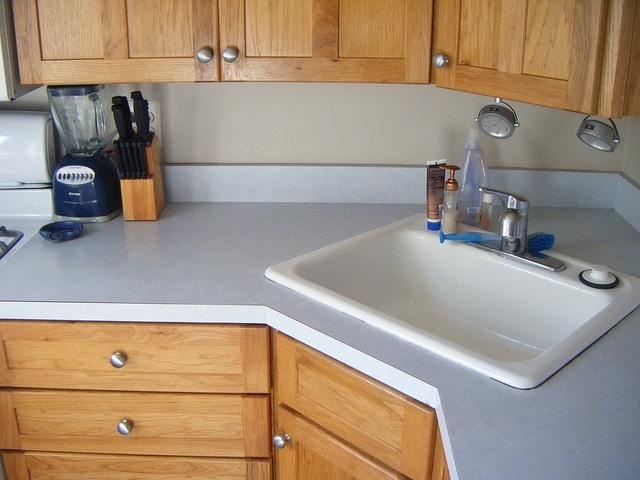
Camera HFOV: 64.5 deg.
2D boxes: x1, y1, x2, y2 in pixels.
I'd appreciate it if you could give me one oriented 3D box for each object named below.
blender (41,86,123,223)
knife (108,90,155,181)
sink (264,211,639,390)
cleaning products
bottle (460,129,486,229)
[{"bbox_3d":[-0.802,-0.294,1.800,0.208,0.488,0.230,1,26,-14],"label":"blender"},{"bbox_3d":[-0.638,-0.361,1.740,0.127,0.287,0.101,-5,19,-15],"label":"knife"},{"bbox_3d":[0.386,0.106,1.597,0.986,0.347,0.914,-15,24,-40],"label":"sink"},{"bbox_3d":[0.539,-0.181,1.671,0.114,0.366,0.129,-3,24,-15],"label":"cleaning products"},{"bbox_3d":[0.498,-0.192,1.671,0.108,0.295,0.142,1,14,-3],"label":"bottle"}]
